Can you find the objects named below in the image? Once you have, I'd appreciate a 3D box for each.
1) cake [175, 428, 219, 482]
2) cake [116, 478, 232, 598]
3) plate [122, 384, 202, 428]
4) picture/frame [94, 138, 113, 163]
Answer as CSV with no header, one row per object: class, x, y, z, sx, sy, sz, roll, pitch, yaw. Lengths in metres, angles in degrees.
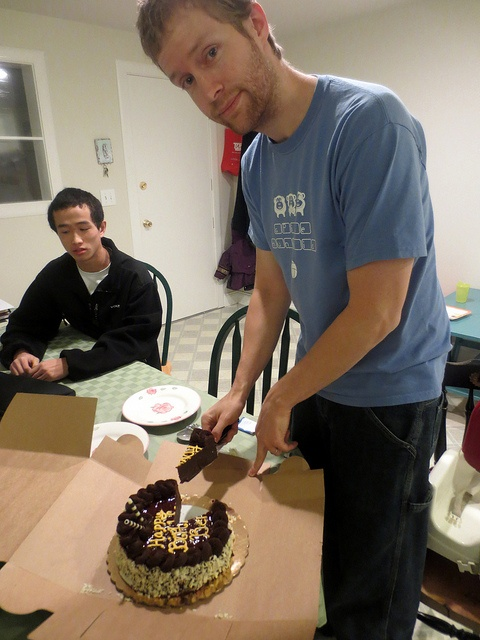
cake,-0.077,0.257,0.923,0.051,0.042,0.105,9,33,22
cake,-0.125,0.362,0.833,0.192,0.079,0.218,16,16,39
plate,-0.194,0.217,1.216,0.184,0.027,0.196,4,22,10
picture/frame,-1.001,-1.228,3.527,0.021,0.181,0.133,16,36,30
